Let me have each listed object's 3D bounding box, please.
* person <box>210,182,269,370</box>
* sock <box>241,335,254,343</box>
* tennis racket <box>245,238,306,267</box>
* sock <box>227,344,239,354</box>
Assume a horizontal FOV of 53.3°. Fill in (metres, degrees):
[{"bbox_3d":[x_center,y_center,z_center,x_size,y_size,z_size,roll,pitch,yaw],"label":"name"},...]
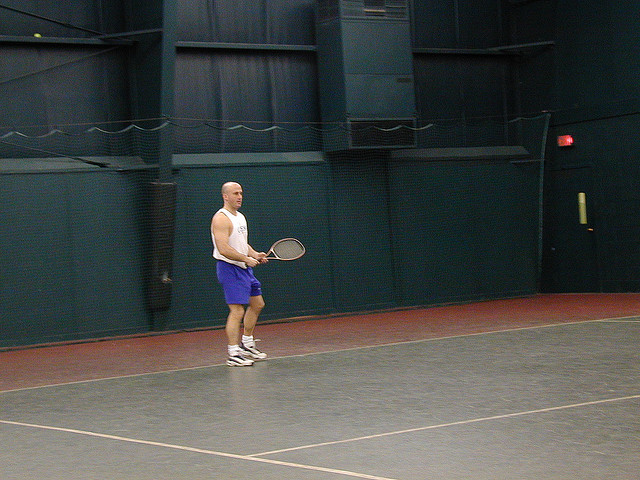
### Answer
[{"bbox_3d":[-0.956,0.412,7.581,0.594,2.177,0.602,-1,2,-5],"label":"person"},{"bbox_3d":[-0.891,1.216,7.864,0.142,0.057,0.089,0,-2,-15],"label":"sock"},{"bbox_3d":[-0.456,0.129,8.017,0.484,0.282,1.061,0,2,1],"label":"tennis racket"},{"bbox_3d":[-1.029,1.298,7.582,0.114,0.115,0.066,-1,2,-8],"label":"sock"}]
